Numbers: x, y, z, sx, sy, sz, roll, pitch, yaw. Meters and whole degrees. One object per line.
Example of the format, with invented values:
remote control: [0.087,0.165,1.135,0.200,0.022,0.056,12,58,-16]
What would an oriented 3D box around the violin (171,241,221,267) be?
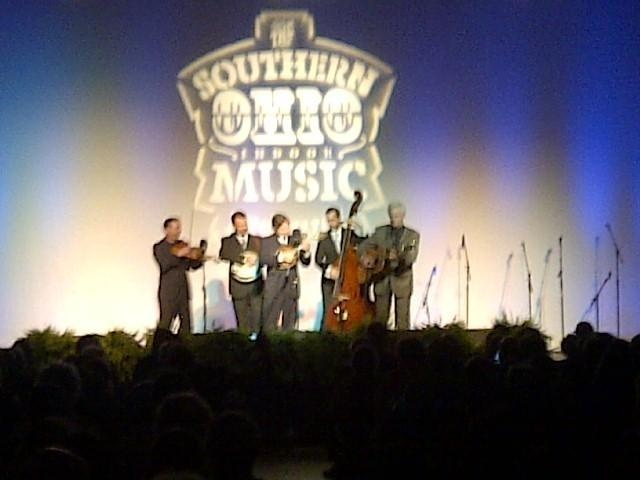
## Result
violin: [-1.334,0.165,6.955,0.506,0.238,0.109,21,-4,-3]
